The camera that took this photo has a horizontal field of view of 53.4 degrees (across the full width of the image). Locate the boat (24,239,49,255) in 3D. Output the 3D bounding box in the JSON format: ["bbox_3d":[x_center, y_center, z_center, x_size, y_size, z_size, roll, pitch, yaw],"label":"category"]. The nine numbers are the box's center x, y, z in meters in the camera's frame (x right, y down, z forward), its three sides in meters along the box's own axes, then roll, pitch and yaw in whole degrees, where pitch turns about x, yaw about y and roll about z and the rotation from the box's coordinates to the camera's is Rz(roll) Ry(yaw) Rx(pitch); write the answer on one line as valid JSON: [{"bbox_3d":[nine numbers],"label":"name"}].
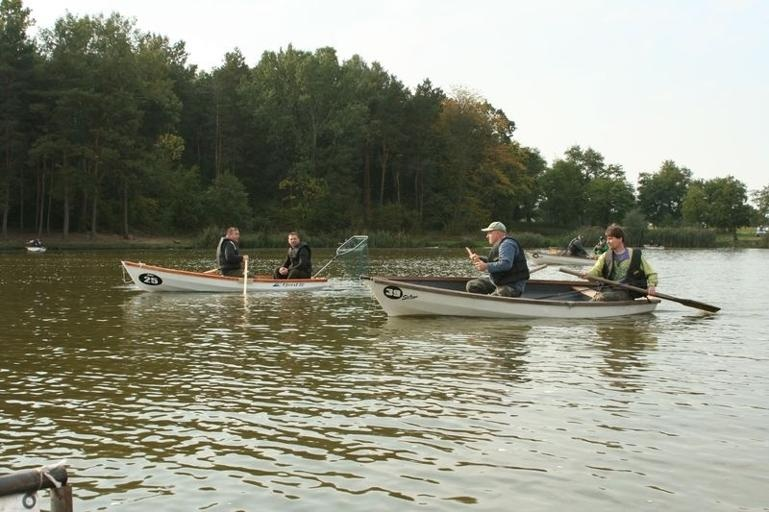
[{"bbox_3d":[-23.201,-0.572,51.018,2.447,0.882,0.824,26,17,37],"label":"boat"}]

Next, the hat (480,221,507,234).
[{"bbox_3d":[2.713,-0.680,18.721,0.438,0.263,0.652,0,10,5],"label":"hat"}]

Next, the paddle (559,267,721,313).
[{"bbox_3d":[7.334,1.028,21.879,4.867,0.443,0.193,14,4,3],"label":"paddle"}]

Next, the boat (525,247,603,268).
[{"bbox_3d":[9.675,0.205,41.531,1.375,0.813,5.130,7,2,-15],"label":"boat"}]
